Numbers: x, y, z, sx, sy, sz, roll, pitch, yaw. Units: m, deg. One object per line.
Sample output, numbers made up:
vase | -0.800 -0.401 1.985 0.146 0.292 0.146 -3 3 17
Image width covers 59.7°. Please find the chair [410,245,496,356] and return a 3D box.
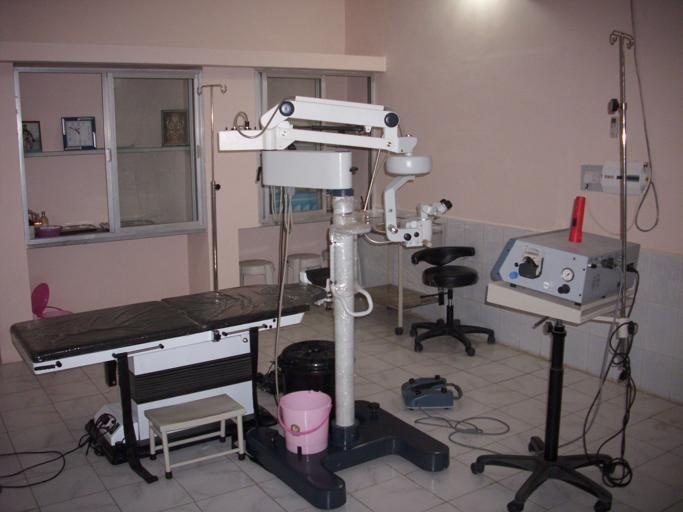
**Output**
chair | 1.053 0.365 6.129 1.058 1.166 0.941 -4 8 -19

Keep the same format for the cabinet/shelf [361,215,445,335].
cabinet/shelf | 0.643 0.208 5.901 0.635 0.986 1.106 -5 10 -30

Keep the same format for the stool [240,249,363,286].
stool | -0.528 0.130 7.107 1.403 0.426 0.884 -6 15 -13

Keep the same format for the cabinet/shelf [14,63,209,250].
cabinet/shelf | -2.388 -1.090 6.062 1.668 1.589 0.538 -4 10 -25

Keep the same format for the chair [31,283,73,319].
chair | -2.866 0.387 5.976 0.325 0.290 0.470 13 -1 -25

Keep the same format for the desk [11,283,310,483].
desk | -1.169 0.900 4.459 2.047 1.061 0.983 -9 14 -32

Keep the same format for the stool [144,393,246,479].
stool | -1.001 1.223 4.077 0.586 0.369 0.371 -6 10 -37

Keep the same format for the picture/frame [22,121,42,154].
picture/frame | -3.119 -1.193 5.968 0.227 0.309 0.012 1 10 9

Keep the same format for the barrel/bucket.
barrel/bucket | -0.239 1.105 4.041 0.352 0.286 0.369 1 8 0

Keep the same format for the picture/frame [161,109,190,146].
picture/frame | -1.738 -1.344 6.236 0.321 0.375 0.012 3 10 15
